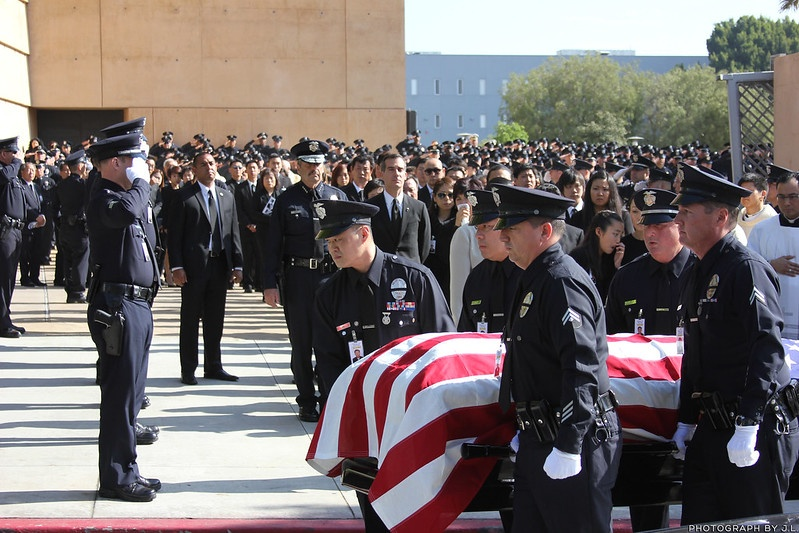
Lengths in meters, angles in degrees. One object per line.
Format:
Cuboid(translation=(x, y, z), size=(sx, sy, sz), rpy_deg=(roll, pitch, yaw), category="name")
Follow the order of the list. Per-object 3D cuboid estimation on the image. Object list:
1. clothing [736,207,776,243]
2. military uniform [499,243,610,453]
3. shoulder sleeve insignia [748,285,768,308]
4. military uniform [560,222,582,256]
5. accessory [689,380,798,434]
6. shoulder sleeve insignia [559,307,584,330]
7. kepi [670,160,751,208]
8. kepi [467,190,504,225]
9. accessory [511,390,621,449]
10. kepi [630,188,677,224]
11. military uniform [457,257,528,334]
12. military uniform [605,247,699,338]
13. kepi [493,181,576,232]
Cuboid(translation=(3.675, -0.432, 10.819), size=(0.315, 0.352, 0.196), rpy_deg=(-19, 23, 20), category="clothing")
Cuboid(translation=(1.044, 0.607, 7.185), size=(0.716, 1.158, 1.397), rpy_deg=(-2, 4, -1), category="military uniform")
Cuboid(translation=(2.499, 0.205, 7.324), size=(0.114, 0.113, 0.029), rpy_deg=(-7, -6, -24), category="shoulder sleeve insignia")
Cuboid(translation=(1.615, -0.249, 9.924), size=(0.283, 0.313, 0.172), rpy_deg=(7, -16, -5), category="military uniform")
Cuboid(translation=(2.487, 1.004, 7.474), size=(0.511, 0.234, 0.391), rpy_deg=(-14, -4, -14), category="accessory")
Cuboid(translation=(1.152, 0.346, 7.018), size=(0.127, 0.128, 0.090), rpy_deg=(36, 14, 29), category="shoulder sleeve insignia")
Cuboid(translation=(2.239, -0.600, 7.553), size=(0.379, 0.204, 0.341), rpy_deg=(3, 5, 7), category="kepi")
Cuboid(translation=(0.681, -0.464, 8.250), size=(0.302, 0.252, 0.422), rpy_deg=(-3, 3, 39), category="kepi")
Cuboid(translation=(1.119, 1.016, 7.132), size=(0.497, 0.226, 0.364), rpy_deg=(-6, -2, -7), category="accessory")
Cuboid(translation=(2.214, -0.508, 9.052), size=(0.501, 0.280, 0.418), rpy_deg=(5, -4, -37), category="kepi")
Cuboid(translation=(0.788, 0.251, 8.770), size=(0.607, 0.790, 0.257), rpy_deg=(3, -4, 9), category="military uniform")
Cuboid(translation=(2.146, 0.239, 8.858), size=(0.741, 0.669, 0.312), rpy_deg=(2, -1, 12), category="military uniform")
Cuboid(translation=(0.953, -0.445, 7.452), size=(0.625, 0.298, 0.575), rpy_deg=(-3, 4, -20), category="kepi")
